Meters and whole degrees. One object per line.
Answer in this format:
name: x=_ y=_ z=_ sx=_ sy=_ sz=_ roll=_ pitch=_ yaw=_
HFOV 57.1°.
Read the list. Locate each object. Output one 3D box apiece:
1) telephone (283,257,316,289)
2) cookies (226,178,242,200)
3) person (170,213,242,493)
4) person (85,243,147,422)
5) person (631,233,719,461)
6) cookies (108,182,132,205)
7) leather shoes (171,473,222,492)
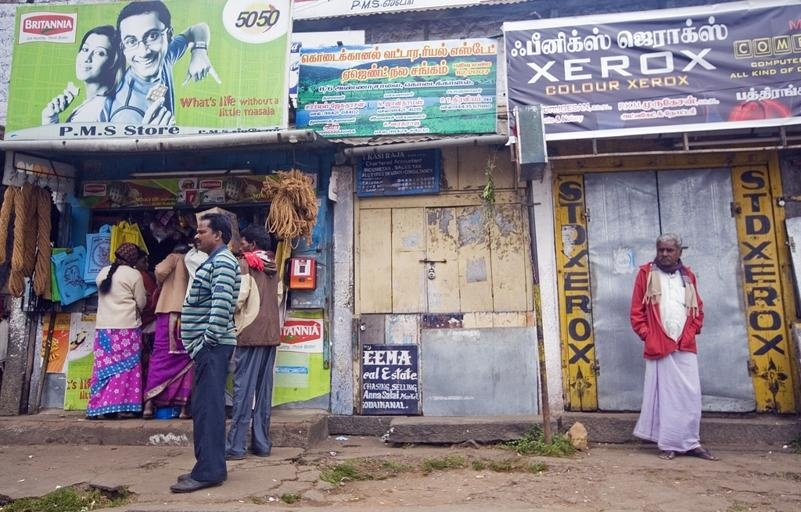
telephone: x=-1.500 y=0.240 z=10.975 sx=0.140 sy=0.540 sz=0.583 roll=4 pitch=-14 yaw=39
cookies: x=-2.588 y=-1.037 z=11.444 sx=0.232 sy=0.336 sz=0.090 roll=-3 pitch=10 yaw=-12
person: x=-2.216 y=1.091 z=8.436 sx=0.663 sy=3.093 sz=0.861 roll=1 pitch=10 yaw=8
person: x=-4.117 y=1.077 z=10.694 sx=0.819 sy=2.433 sz=0.767 roll=-2 pitch=10 yaw=-11
person: x=3.491 y=1.145 z=9.572 sx=0.917 sy=2.780 sz=0.950 roll=1 pitch=10 yaw=8
cookies: x=-4.453 y=-0.982 z=11.661 sx=0.283 sy=0.366 sz=0.124 roll=-3 pitch=10 yaw=-12
leather shoes: x=-2.262 y=2.601 z=8.453 sx=0.647 sy=0.240 sz=0.205 roll=6 pitch=-6 yaw=-6
